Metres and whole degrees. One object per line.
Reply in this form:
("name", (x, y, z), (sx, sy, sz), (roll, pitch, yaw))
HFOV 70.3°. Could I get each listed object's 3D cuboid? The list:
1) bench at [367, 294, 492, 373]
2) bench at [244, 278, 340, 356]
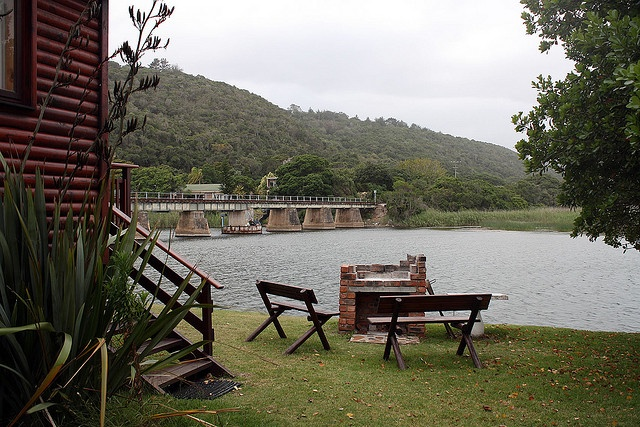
("bench", (1.698, 1.912, 7.962), (1.911, 1.171, 2.039), (2, -2, -24))
("bench", (-0.571, 1.865, 8.471), (0.979, 1.187, 1.745), (1, -1, -44))
